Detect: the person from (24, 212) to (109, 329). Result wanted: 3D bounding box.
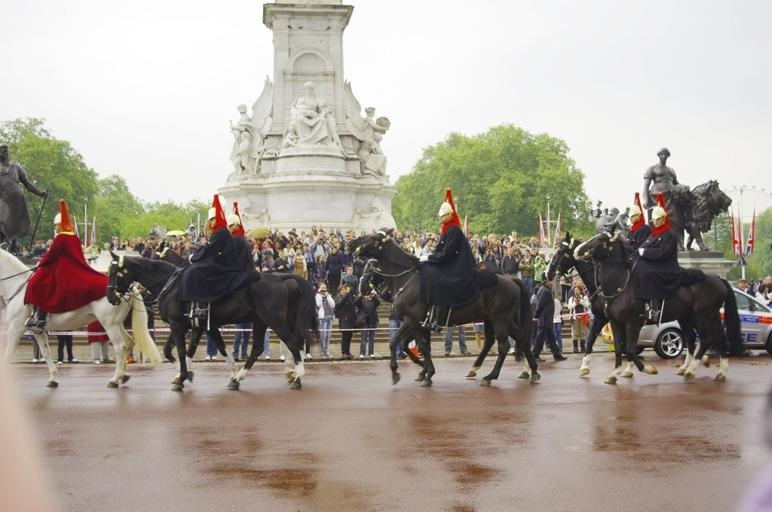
[{"bbox_3d":[-7.601,0.440,30.962,1.798,2.711,0.713,-3,14,-12],"label":"person"}]

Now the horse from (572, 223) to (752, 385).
[{"bbox_3d":[6.558,1.260,31.965,5.291,3.377,1.347,5,-6,-27],"label":"horse"}]

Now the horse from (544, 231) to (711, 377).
[{"bbox_3d":[6.587,1.439,33.511,6.308,3.641,1.407,5,-8,-36],"label":"horse"}]
